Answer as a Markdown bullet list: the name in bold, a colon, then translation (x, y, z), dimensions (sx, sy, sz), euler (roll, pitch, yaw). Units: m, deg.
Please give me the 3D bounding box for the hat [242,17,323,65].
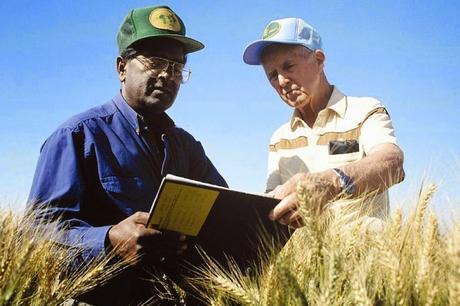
- **hat**: translation (0.707, -1.534, 5.428), dimensions (0.878, 0.494, 0.669), euler (-1, 1, -35)
